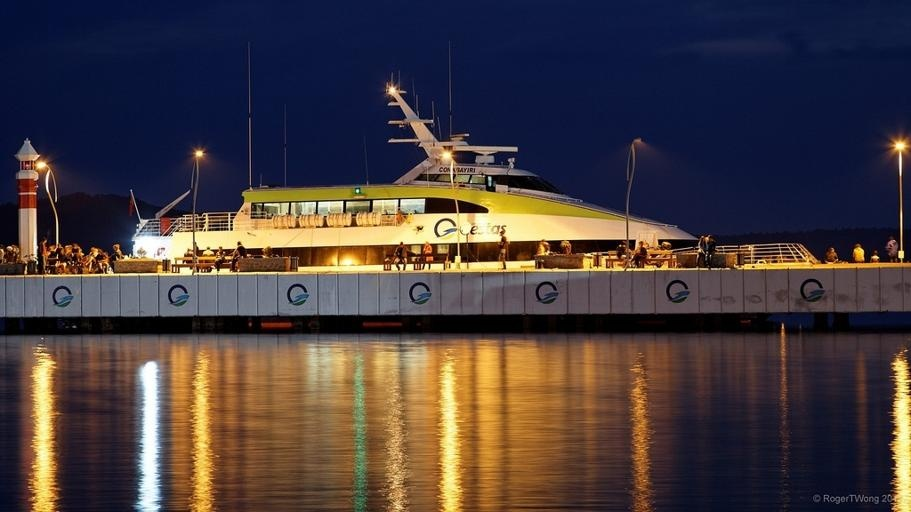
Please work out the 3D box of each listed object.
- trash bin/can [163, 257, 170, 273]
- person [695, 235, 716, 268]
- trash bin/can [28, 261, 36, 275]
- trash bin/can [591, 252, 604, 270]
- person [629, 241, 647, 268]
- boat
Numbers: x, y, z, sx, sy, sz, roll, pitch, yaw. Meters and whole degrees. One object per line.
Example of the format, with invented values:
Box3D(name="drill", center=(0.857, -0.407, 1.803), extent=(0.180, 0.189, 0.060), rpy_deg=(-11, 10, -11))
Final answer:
Box3D(name="trash bin/can", center=(-15.026, 0.581, 100.647), extent=(0.615, 0.722, 0.555), rpy_deg=(0, 1, -6))
Box3D(name="person", center=(12.673, -0.215, 97.106), extent=(0.894, 1.650, 1.367), rpy_deg=(-1, 15, 4))
Box3D(name="trash bin/can", center=(-22.046, 0.697, 100.302), extent=(0.656, 0.601, 0.600), rpy_deg=(0, -6, -17))
Box3D(name="trash bin/can", center=(7.313, 0.274, 98.961), extent=(0.841, 0.832, 0.758), rpy_deg=(-1, 2, -8))
Box3D(name="person", center=(9.453, 0.101, 98.574), extent=(0.824, 1.183, 1.255), rpy_deg=(-1, 15, 5))
Box3D(name="boat", center=(-1.873, -3.516, 100.345), extent=(29.626, 8.987, 13.420), rpy_deg=(6, 16, 29))
